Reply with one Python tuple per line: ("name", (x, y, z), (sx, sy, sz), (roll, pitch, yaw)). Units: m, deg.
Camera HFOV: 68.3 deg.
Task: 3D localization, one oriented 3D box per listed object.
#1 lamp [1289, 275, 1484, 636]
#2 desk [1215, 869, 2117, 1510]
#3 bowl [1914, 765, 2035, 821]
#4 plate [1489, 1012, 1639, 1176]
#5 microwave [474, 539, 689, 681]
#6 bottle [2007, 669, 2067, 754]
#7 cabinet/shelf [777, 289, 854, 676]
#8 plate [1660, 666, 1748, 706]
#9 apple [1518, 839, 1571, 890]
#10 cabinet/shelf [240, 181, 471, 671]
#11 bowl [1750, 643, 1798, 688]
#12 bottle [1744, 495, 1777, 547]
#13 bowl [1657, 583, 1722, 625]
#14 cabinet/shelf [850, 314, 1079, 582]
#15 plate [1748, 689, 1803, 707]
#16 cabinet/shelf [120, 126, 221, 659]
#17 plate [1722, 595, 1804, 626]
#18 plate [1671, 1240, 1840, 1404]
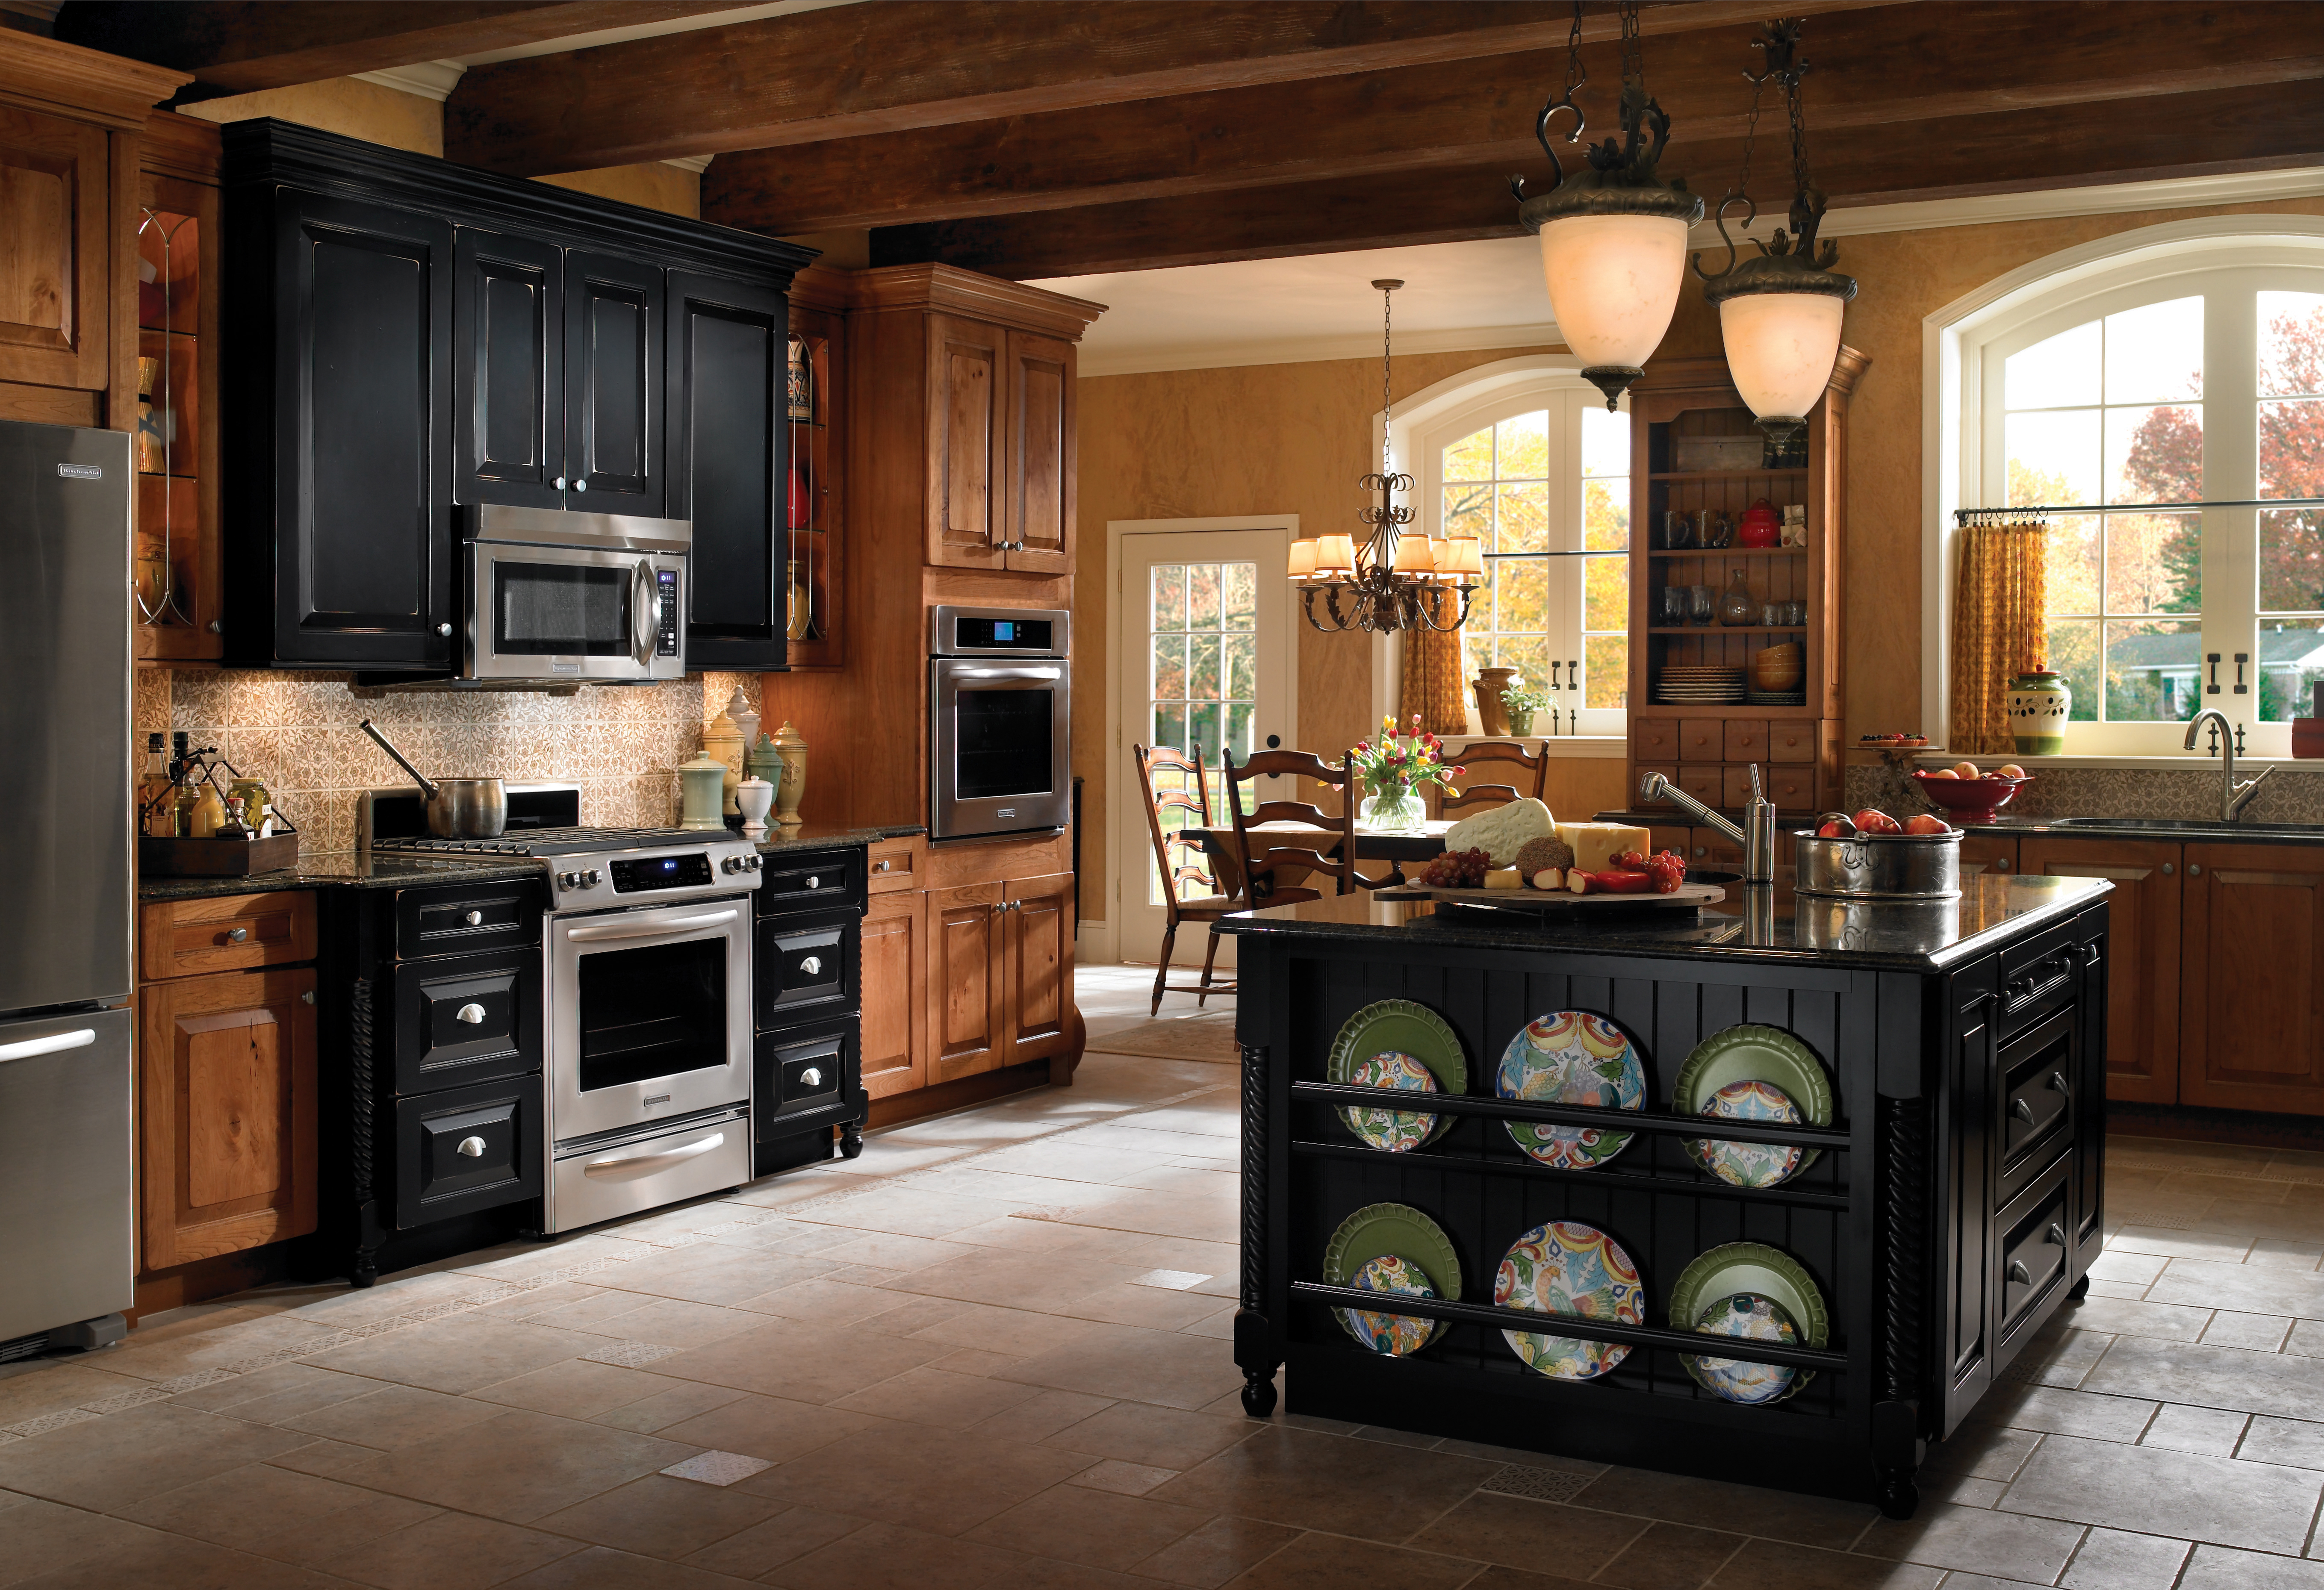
("lamp", (1.044, -1.498, 7.806), (0.918, 1.445, 0.839), (-1, 8, 1))
("desk", (1.137, 0.753, 3.909), (1.359, 0.827, 1.738), (-1, 0, 27))
("bowl", (3.209, -0.019, 6.727), (0.290, 0.127, 0.367), (-1, 2, -44))
("plate", (0.862, 0.626, 3.592), (0.338, 0.298, 0.067), (0, -7, 24))
("microwave", (-1.787, -0.556, 5.292), (0.419, 0.395, 0.684), (-2, -3, 33))
("bottle", (3.650, -0.350, 7.111), (0.240, 0.348, 0.175), (1, 5, 15))
("cabinet/shelf", (-1.284, -1.220, 6.458), (0.319, 1.485, 0.184), (-3, 6, -31))
("plate", (2.344, -0.469, 7.427), (0.247, 0.106, 0.194), (1, 1, 37))
("apple", (0.869, 0.158, 3.846), (0.121, 0.101, 0.115), (-14, 8, 22))
("cabinet/shelf", (-2.303, -1.017, 4.880), (0.146, 1.286, 0.569), (3, 6, 34))
("bowl", (2.626, -0.542, 7.289), (0.213, 0.151, 0.153), (3, 3, 35))
("bottle", (2.572, -1.166, 7.347), (0.137, 0.224, 0.143), (0, 5, 0))
("bowl", (2.303, -0.826, 7.483), (0.207, 0.132, 0.180), (0, -1, 17))
("cabinet/shelf", (-0.822, -1.376, 6.881), (0.523, 0.970, 1.139), (6, 10, 22))
("plate", (2.620, -0.417, 7.305), (0.228, 0.087, 0.089), (2, 5, 25))
("cabinet/shelf", (-2.695, -1.089, 4.680), (0.121, 1.447, 0.278), (3, 6, 33))
("plate", (2.604, -0.775, 7.352), (0.220, 0.067, 0.159), (0, 1, -13))
("plate", (1.202, 1.073, 3.482), (0.338, 0.293, 0.125), (2, -2, 21))
